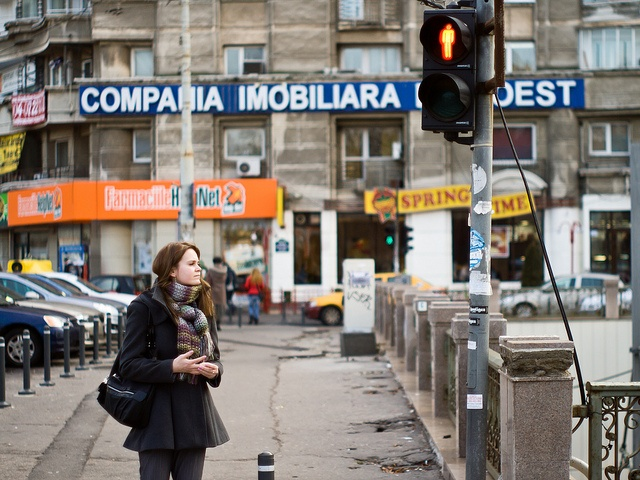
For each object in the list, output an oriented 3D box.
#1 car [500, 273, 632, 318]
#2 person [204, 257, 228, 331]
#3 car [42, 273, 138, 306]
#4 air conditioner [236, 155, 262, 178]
[{"bbox_3d":[8.798,2.064,52.015,4.489,1.378,1.646,-2,1,8],"label":"car"},{"bbox_3d":[-3.670,1.906,51.146,0.674,2.383,0.806,-3,14,-21],"label":"person"},{"bbox_3d":[-7.526,1.652,47.594,3.649,1.320,1.730,2,1,4],"label":"car"},{"bbox_3d":[-2.854,-2.805,57.847,1.138,1.062,0.658,1,-3,-3],"label":"air conditioner"}]
